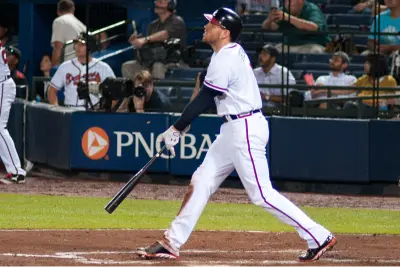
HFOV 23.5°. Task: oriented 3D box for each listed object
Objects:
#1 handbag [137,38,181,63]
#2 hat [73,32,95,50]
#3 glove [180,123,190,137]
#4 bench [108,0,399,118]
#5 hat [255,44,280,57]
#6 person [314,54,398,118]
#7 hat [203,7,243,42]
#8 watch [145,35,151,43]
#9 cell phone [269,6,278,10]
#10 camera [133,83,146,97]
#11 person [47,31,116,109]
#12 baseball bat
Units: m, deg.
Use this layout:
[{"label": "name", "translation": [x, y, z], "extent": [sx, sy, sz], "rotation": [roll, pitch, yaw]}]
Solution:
[{"label": "handbag", "translation": [-0.740, -1.557, 18.063], "extent": [0.556, 0.247, 0.561], "rotation": [-10, 19, -13]}, {"label": "hat", "translation": [-2.056, -1.687, 17.438], "extent": [0.373, 0.357, 0.838], "rotation": [3, 3, -7]}, {"label": "glove", "translation": [-0.240, -0.061, 14.278], "extent": [0.093, 0.238, 0.081], "rotation": [-4, 51, -42]}, {"label": "bench", "translation": [-0.258, -1.340, 17.305], "extent": [4.223, 1.858, 0.939], "rotation": [1, 4, 7]}, {"label": "hat", "translation": [1.288, -1.583, 18.133], "extent": [0.350, 0.186, 0.243], "rotation": [30, 9, -12]}, {"label": "person", "translation": [2.856, -0.990, 17.522], "extent": [1.345, 1.639, 0.877], "rotation": [1, 21, 17]}, {"label": "hat", "translation": [0.337, -1.693, 14.267], "extent": [0.641, 0.382, 0.477], "rotation": [25, 10, -7]}, {"label": "watch", "translation": [-0.951, -1.785, 18.045], "extent": [0.114, 0.075, 0.115], "rotation": [36, -18, 27]}, {"label": "cell phone", "translation": [1.489, -2.544, 19.410], "extent": [0.117, 0.122, 0.221], "rotation": [5, 6, 4]}, {"label": "camera", "translation": [-1.063, -0.770, 17.103], "extent": [0.163, 0.237, 0.225], "rotation": [-2, 25, -5]}, {"label": "person", "translation": [-2.183, -1.153, 17.669], "extent": [1.288, 1.370, 0.530], "rotation": [6, 4, 33]}, {"label": "baseball bat", "translation": [-1.084, 0.742, 16.418], "extent": [0.166, 1.510, 0.157], "rotation": [45, -10, -8]}]
